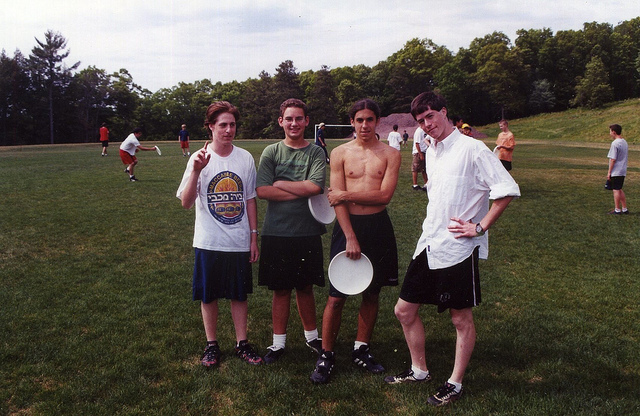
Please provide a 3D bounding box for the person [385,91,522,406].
[{"bbox_3d":[1.688,0.483,6.143,1.311,3.916,0.857,3,9,22],"label":"person"}]

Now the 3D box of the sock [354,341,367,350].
[{"bbox_3d":[0.552,1.962,6.768,0.109,0.101,0.089,1,-2,3],"label":"sock"}]

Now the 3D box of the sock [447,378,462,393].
[{"bbox_3d":[1.760,2.276,6.132,0.228,0.170,0.093,-4,9,-22],"label":"sock"}]

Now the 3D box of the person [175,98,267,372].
[{"bbox_3d":[-1.402,0.320,6.889,1.070,3.696,1.194,-1,9,-8],"label":"person"}]

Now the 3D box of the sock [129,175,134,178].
[{"bbox_3d":[-6.845,-1.163,17.251,0.118,0.090,0.119,1,-4,1],"label":"sock"}]

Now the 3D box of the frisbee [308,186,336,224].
[{"bbox_3d":[0.026,-0.031,6.818,0.392,0.546,0.246,-1,9,-2],"label":"frisbee"}]

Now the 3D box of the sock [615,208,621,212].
[{"bbox_3d":[8.135,0.051,12.973,0.089,0.086,0.089,-11,16,-39],"label":"sock"}]

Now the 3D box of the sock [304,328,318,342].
[{"bbox_3d":[-0.132,1.889,7.066,0.174,0.161,0.171,1,13,8],"label":"sock"}]

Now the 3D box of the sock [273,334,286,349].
[{"bbox_3d":[-0.583,1.923,6.904,0.199,0.180,0.200,-8,-27,4],"label":"sock"}]
